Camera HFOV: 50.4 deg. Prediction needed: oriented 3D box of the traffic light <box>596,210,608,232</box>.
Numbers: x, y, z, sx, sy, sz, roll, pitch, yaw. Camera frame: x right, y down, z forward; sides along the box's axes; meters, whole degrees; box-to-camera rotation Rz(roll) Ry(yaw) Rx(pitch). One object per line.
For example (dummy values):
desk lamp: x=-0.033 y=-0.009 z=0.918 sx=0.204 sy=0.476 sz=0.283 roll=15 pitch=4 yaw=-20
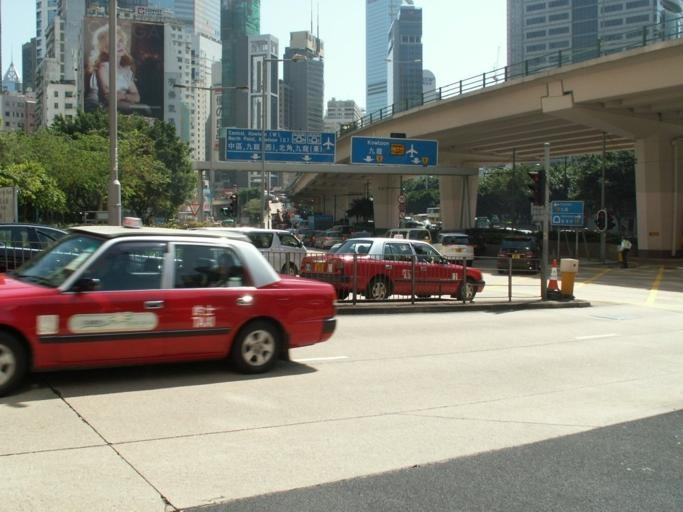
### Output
traffic light: x=13.616 y=-1.880 z=38.035 sx=0.498 sy=1.158 sz=1.045 roll=5 pitch=7 yaw=21
